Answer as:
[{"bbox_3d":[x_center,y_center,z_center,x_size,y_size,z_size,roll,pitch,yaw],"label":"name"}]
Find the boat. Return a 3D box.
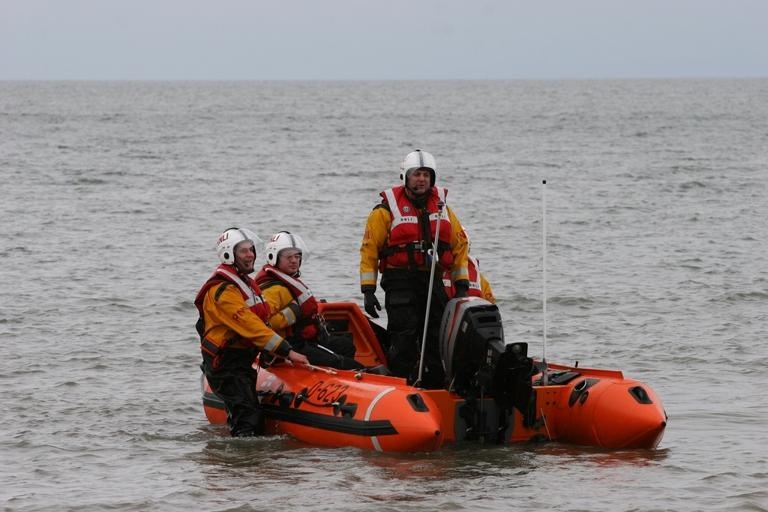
[{"bbox_3d":[0.888,2.266,24.959,5.728,1.365,3.938,-3,-4,39],"label":"boat"}]
